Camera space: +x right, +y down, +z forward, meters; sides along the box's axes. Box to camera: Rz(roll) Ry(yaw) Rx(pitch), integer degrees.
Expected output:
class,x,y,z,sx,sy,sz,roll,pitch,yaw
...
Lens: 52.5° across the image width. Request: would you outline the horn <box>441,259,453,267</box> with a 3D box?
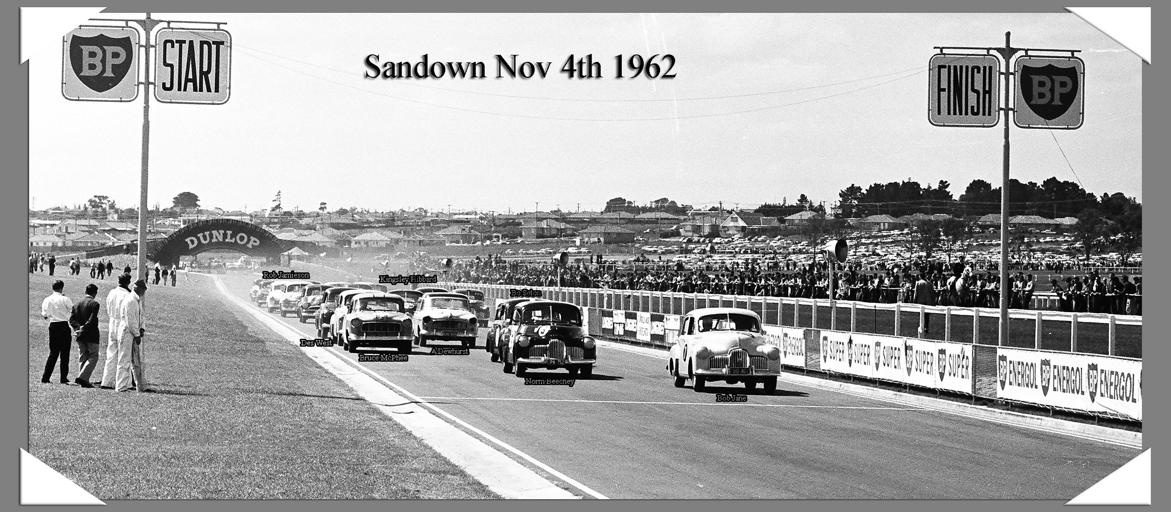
class,x,y,z,sx,sy,sz,roll,pitch,yaw
horn,-11.166,0.417,95.449,0.667,0.522,0.962,11,-10,-16
